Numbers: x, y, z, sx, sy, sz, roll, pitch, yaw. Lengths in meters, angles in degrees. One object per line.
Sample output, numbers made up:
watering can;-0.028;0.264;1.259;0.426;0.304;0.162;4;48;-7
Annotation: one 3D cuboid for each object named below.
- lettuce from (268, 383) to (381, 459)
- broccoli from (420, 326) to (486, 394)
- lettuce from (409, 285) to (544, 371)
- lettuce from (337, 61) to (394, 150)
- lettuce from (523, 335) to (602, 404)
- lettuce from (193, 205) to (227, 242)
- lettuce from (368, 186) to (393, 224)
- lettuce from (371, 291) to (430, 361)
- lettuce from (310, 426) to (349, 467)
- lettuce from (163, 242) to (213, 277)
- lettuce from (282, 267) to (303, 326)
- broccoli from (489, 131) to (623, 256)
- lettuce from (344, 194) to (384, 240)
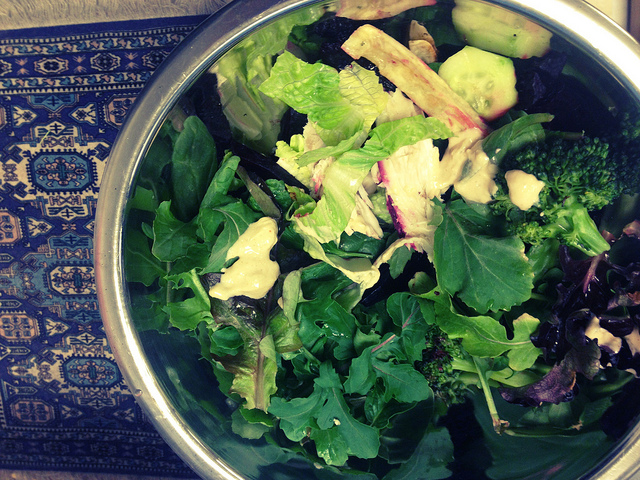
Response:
lettuce;0.034;0.459;2.263;0.369;0.185;0.308;2;19;14
broccoli;0.356;0.340;2.176;0.201;0.180;0.120;25;37;-35
lettuce;0.456;0.249;2.185;0.254;0.200;0.289;-3;18;2
lettuce;0.082;-0.354;2.004;0.221;0.143;0.074;-48;18;-20
lettuce;0.646;0.352;2.083;0.183;0.170;0.115;-2;8;-26
lettuce;-0.299;-0.047;2.054;0.086;0.092;0.035;5;4;-7
lettuce;0.164;-0.098;2.150;0.096;0.072;0.054;53;7;-4
lettuce;0.226;0.237;2.161;0.136;0.191;0.048;42;7;3
lettuce;0.030;0.572;2.135;0.073;0.126;0.022;-11;6;12
lettuce;-0.346;0.051;2.031;0.109;0.091;0.073;-6;19;-6
lettuce;-0.082;0.147;2.089;0.053;0.146;0.020;1;32;-2
broccoli;0.614;-0.167;2.059;0.367;0.276;0.211;-1;26;-2
lettuce;0.118;-0.058;2.082;0.079;0.122;0.039;-14;-1;-26
